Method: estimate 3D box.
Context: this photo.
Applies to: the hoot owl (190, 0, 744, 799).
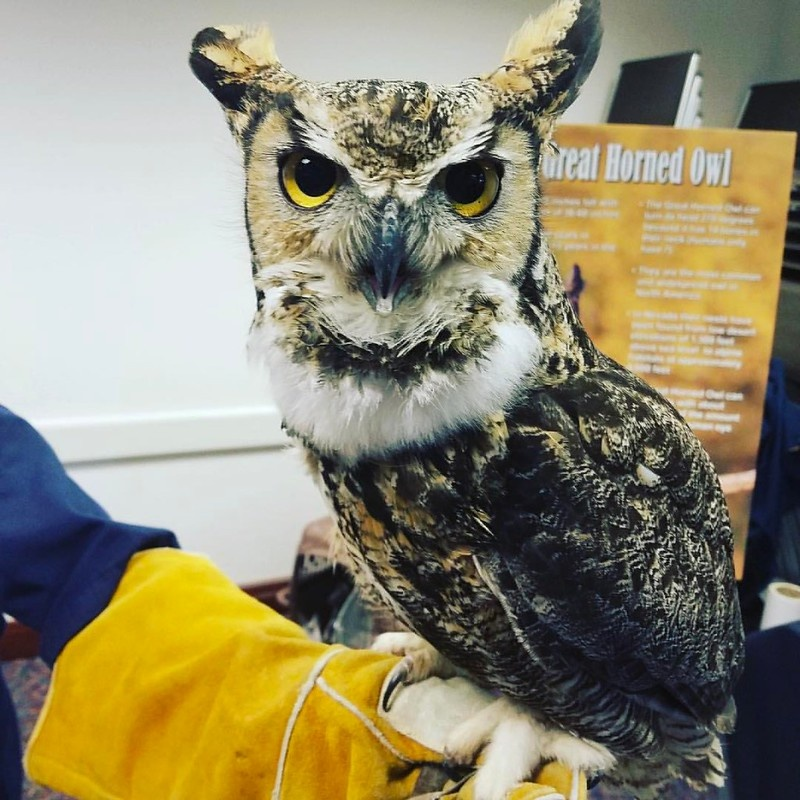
[{"bbox_3d":[0.095,0.026,1.223,0.499,0.837,0.310,-7,21,-7],"label":"hoot owl"}]
